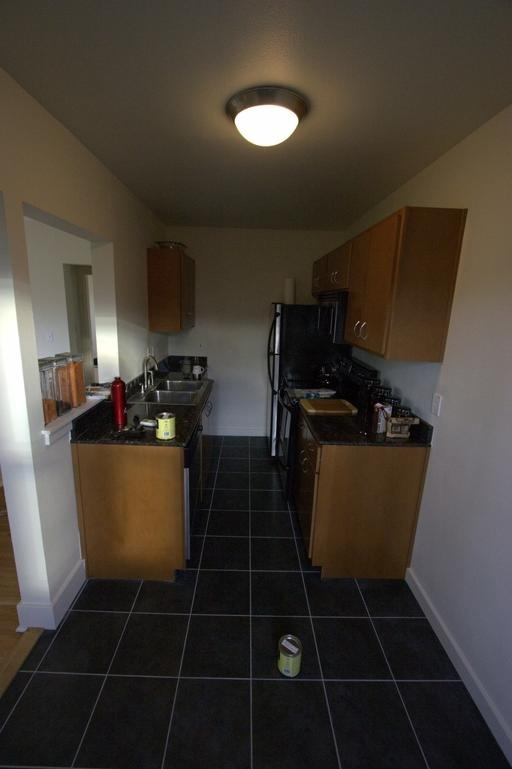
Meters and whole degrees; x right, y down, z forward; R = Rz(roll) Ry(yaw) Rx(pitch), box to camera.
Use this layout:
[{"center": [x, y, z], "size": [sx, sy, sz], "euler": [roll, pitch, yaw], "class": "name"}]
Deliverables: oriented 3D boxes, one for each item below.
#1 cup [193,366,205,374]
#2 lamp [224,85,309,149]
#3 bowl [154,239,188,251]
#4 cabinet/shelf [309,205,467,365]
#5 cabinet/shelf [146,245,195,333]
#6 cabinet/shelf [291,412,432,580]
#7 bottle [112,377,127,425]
[{"center": [-0.481, -0.119, 4.251], "size": [0.082, 0.095, 0.057], "euler": [2, 5, -4], "class": "cup"}, {"center": [0.041, -1.006, 1.924], "size": [0.331, 0.149, 0.276], "euler": [2, 11, -4], "class": "lamp"}, {"center": [-0.607, -1.006, 3.696], "size": [0.137, 0.052, 0.280], "euler": [9, 13, 29], "class": "bowl"}, {"center": [0.701, -0.521, 2.694], "size": [0.308, 0.688, 1.023], "euler": [1, 11, -4], "class": "cabinet/shelf"}, {"center": [-0.620, -0.740, 3.929], "size": [0.184, 0.602, 0.602], "euler": [2, 12, 5], "class": "cabinet/shelf"}, {"center": [0.571, 0.473, 2.929], "size": [0.582, 0.945, 1.098], "euler": [3, 5, 7], "class": "cabinet/shelf"}, {"center": [-0.703, 0.101, 2.589], "size": [0.070, 0.242, 0.182], "euler": [-1, 11, -16], "class": "bottle"}]
